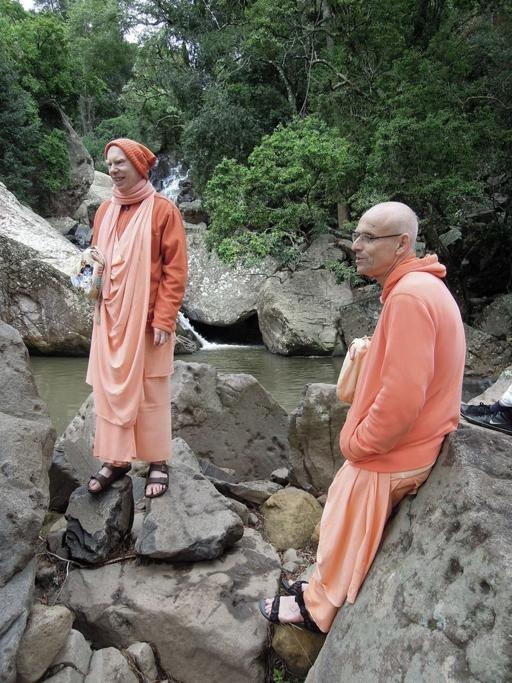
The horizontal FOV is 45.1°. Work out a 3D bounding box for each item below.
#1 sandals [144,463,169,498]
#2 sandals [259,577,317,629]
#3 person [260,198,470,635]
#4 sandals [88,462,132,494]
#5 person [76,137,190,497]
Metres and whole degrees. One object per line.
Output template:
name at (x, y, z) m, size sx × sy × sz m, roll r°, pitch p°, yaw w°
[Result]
sandals at (-0.478, 0.675, 2.976) m, size 0.110 × 0.131 × 0.206 m, roll 3°, pitch 21°, yaw -9°
sandals at (0.129, 1.008, 2.362) m, size 0.226 × 0.064 × 0.172 m, roll 6°, pitch 10°, yaw 32°
person at (0.393, 0.280, 2.135) m, size 0.685 × 1.431 × 0.646 m, roll 3°, pitch 2°, yaw 11°
sandals at (-0.697, 0.635, 2.932) m, size 0.089 × 0.093 × 0.239 m, roll 14°, pitch 19°, yaw 27°
person at (-0.596, -0.013, 3.043) m, size 0.468 × 1.841 × 0.908 m, roll 2°, pitch 23°, yaw -13°
